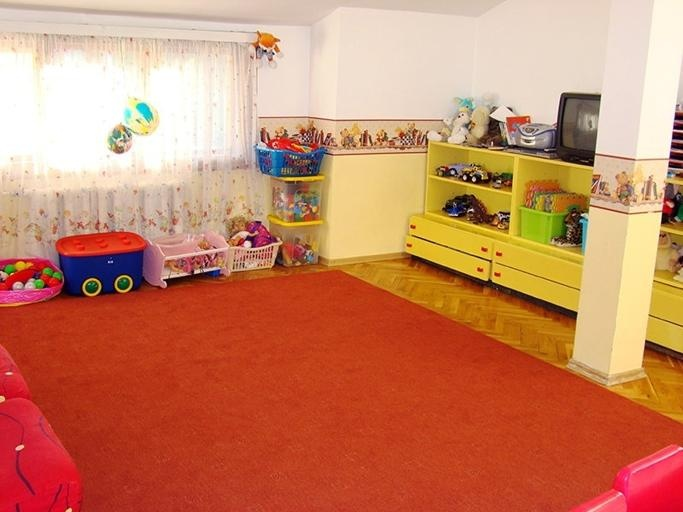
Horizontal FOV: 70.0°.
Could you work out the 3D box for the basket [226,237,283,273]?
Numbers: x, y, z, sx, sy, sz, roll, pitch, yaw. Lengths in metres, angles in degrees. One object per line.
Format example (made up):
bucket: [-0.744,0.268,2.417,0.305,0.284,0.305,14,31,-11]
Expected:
basket: [-1.003,-0.016,5.442,0.443,0.293,0.315,-2,6,-30]

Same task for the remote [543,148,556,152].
remote: [2.009,-1.026,4.734,0.102,0.034,0.146,9,20,22]

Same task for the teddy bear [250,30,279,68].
teddy bear: [-0.873,-2.330,5.441,0.352,0.387,0.180,-3,25,-14]

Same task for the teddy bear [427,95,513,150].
teddy bear: [1.477,-1.498,5.528,0.736,0.400,0.612,-2,14,-40]

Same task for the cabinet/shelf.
cabinet/shelf: [1.764,-0.022,4.236,0.407,0.932,1.805,-7,22,-33]

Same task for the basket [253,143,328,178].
basket: [-0.588,-1.091,5.601,0.716,0.347,0.530,-8,15,-38]

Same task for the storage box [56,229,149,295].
storage box: [-2.361,0.074,4.844,0.571,0.461,0.780,23,22,40]

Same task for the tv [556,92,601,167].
tv: [2.240,-1.195,4.464,0.327,0.615,0.406,-25,30,-34]

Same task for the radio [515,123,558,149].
radio: [1.940,-1.171,4.808,0.197,0.237,0.462,-12,22,-35]

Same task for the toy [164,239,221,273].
toy: [-1.507,0.018,5.051,0.297,0.341,0.640,13,22,34]
